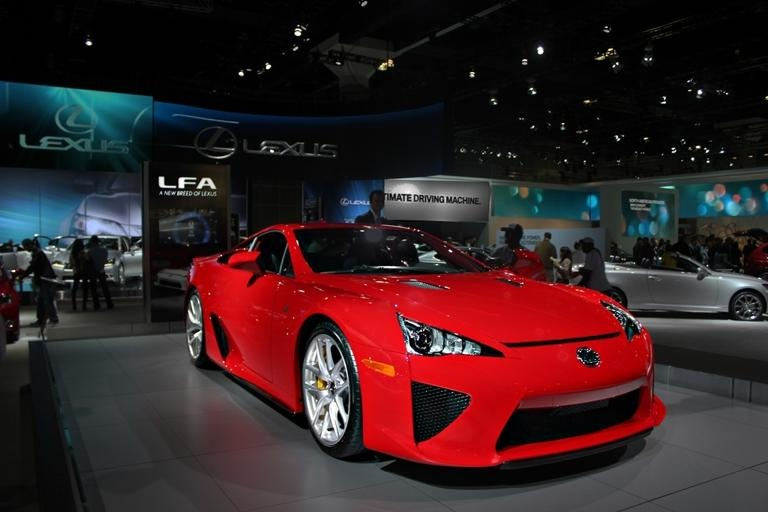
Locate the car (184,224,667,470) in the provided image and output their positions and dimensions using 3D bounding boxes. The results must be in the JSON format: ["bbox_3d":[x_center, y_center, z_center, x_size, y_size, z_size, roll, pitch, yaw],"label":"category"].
[{"bbox_3d":[-0.175,0.651,3.683,1.856,1.049,3.333,0,0,-35],"label":"car"}]
